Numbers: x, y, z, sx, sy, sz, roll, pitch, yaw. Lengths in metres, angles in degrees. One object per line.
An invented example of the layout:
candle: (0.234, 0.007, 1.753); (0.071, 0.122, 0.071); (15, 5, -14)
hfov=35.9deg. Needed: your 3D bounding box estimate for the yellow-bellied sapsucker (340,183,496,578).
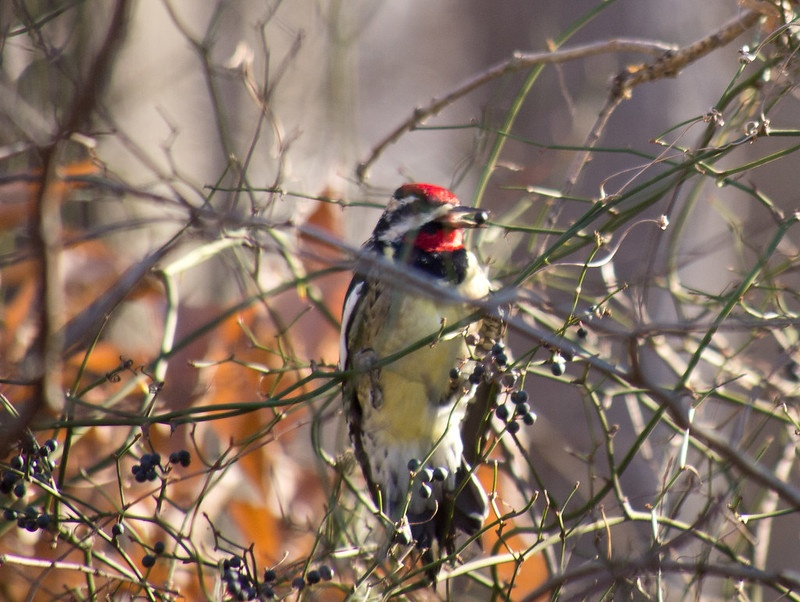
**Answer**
yellow-bellied sapsucker: (0.025, 0.194, 3.718); (0.370, 0.486, 1.272); (1, -77, -26)
